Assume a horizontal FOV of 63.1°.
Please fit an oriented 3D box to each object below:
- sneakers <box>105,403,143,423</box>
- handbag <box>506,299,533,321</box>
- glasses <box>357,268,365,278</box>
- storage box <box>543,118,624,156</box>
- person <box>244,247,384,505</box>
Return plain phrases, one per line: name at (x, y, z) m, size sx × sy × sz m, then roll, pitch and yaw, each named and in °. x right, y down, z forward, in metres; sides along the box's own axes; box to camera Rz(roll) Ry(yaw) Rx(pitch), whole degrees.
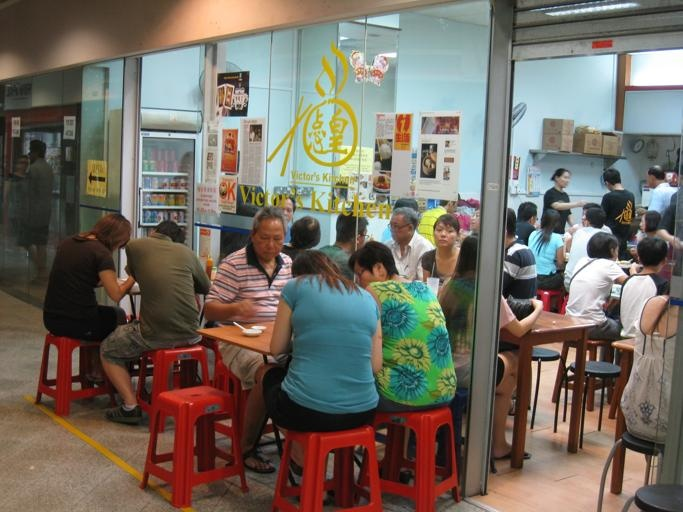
sneakers at (-1.804, 1.282, 4.591) m, size 0.309 × 0.157 × 0.125 m, roll 6°, pitch 4°, yaw 18°
handbag at (1.328, 0.401, 4.125) m, size 0.150 × 0.158 × 0.147 m, roll 4°, pitch -4°, yaw 13°
glasses at (0.109, 0.107, 3.405) m, size 0.039 × 0.041 × 0.011 m, roll -2°, pitch -7°, yaw 45°
storage box at (4.064, -2.014, 9.469) m, size 1.432 × 0.562 × 0.383 m, roll 0°, pitch 6°, yaw -18°
person at (-0.113, 0.465, 3.059) m, size 0.668 × 0.961 × 0.406 m, roll 2°, pitch 6°, yaw 0°
